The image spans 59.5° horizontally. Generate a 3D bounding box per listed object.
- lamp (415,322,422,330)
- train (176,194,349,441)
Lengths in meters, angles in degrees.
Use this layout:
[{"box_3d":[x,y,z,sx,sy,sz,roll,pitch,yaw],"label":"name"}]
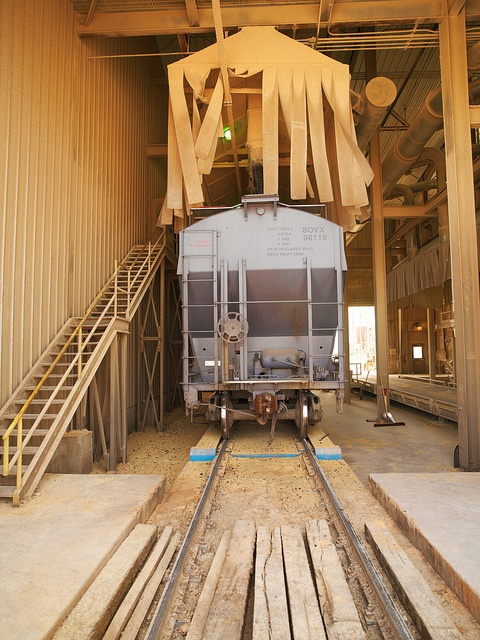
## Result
[{"box_3d":[11.579,0.427,27.152,0.269,0.464,0.107,-2,-9,19],"label":"lamp"},{"box_3d":[0.602,-0.140,10.757,3.018,6.781,5.477,-1,-1,4],"label":"train"}]
